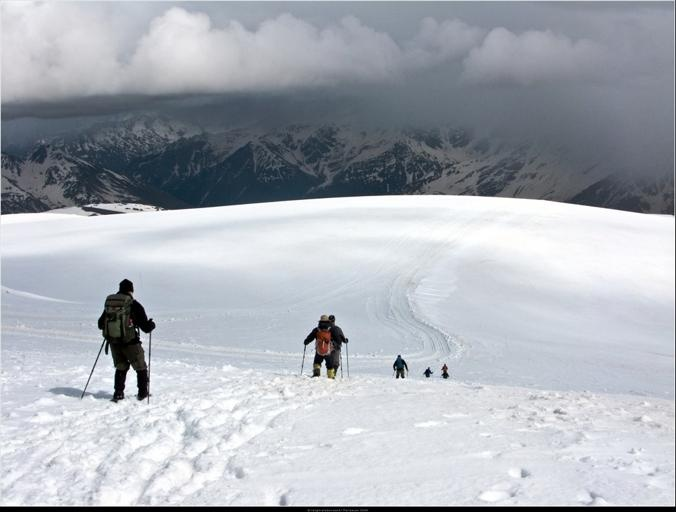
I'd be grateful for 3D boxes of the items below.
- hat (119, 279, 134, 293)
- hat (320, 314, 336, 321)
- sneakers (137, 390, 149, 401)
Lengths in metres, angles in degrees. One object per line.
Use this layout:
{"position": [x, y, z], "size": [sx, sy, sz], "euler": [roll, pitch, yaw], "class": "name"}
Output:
{"position": [-7.228, 0.999, 28.324], "size": [0.558, 0.567, 0.590], "euler": [3, -11, -36], "class": "hat"}
{"position": [-0.366, 2.393, 31.648], "size": [0.472, 0.106, 0.460], "euler": [2, 1, 14], "class": "hat"}
{"position": [-6.616, 4.768, 28.006], "size": [0.371, 0.285, 0.128], "euler": [-3, 37, 1], "class": "sneakers"}
